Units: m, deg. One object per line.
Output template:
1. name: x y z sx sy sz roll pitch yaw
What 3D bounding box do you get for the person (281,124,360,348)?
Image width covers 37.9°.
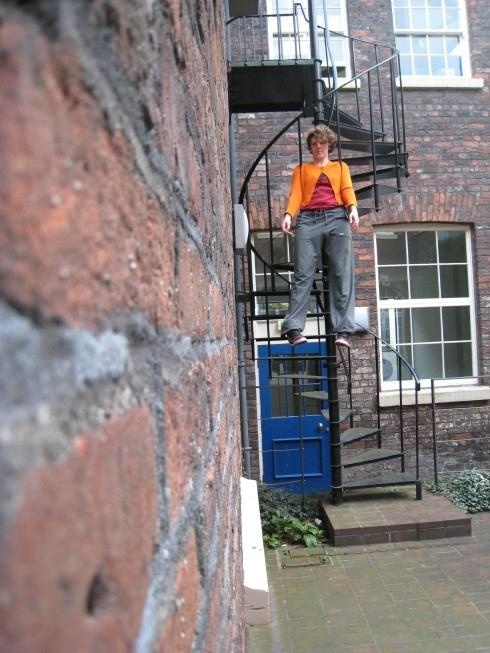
1. person: 0.450 -0.550 4.374 0.490 0.889 0.581 -3 -2 3

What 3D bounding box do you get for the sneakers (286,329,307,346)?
1. sneakers: 0.312 0.070 4.355 0.060 0.069 0.156 -10 -3 -11

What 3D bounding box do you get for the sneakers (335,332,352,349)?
1. sneakers: 0.608 0.087 4.414 0.060 0.073 0.167 1 6 25
